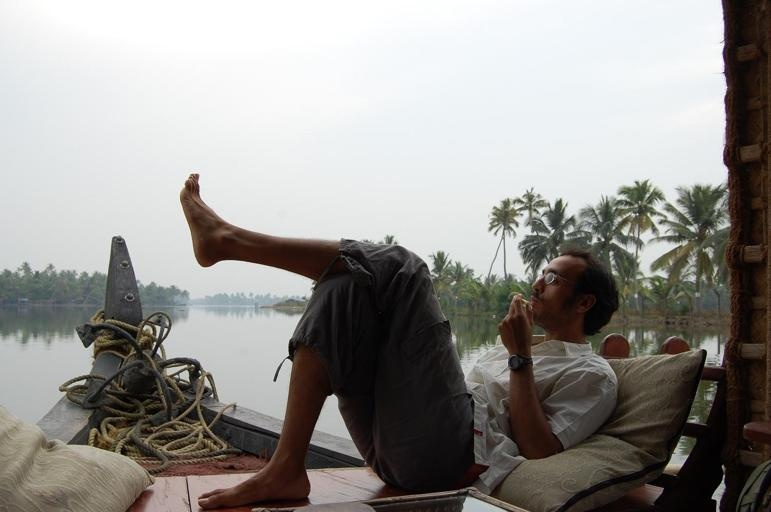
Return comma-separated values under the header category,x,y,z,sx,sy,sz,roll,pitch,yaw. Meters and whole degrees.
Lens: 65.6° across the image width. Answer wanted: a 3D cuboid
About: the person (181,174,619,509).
category,x,y,z,sx,sy,sz,roll,pitch,yaw
person,0.223,0.599,3.788,2.704,1.701,0.743,0,-1,-20
